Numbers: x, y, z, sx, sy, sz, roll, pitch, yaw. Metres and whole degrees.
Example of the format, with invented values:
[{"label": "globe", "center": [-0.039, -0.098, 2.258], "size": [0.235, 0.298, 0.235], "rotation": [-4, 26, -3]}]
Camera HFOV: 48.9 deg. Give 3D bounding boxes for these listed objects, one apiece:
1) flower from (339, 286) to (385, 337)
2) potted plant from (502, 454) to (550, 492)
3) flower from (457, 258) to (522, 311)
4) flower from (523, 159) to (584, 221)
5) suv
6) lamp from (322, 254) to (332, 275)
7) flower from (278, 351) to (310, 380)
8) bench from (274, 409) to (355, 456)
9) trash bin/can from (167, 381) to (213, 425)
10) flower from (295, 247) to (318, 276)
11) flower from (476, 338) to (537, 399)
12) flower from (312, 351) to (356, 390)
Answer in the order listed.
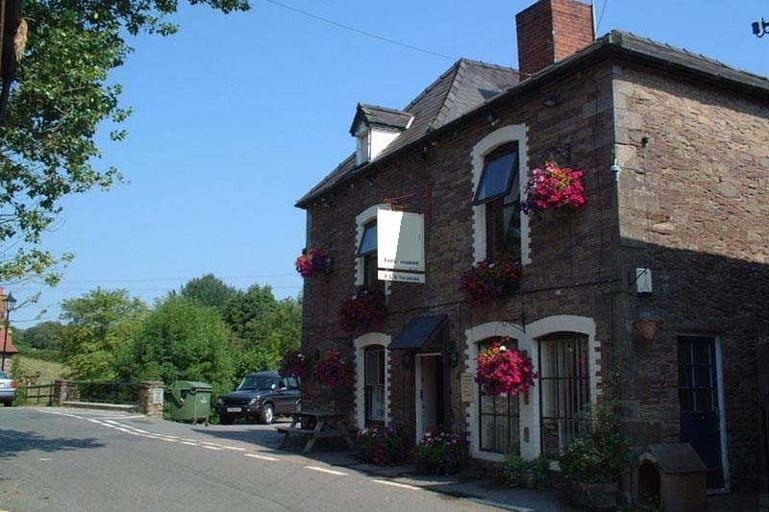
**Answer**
[{"label": "flower", "center": [-0.647, 1.550, 24.671], "size": [0.774, 1.425, 1.537], "rotation": [8, -5, -28]}, {"label": "potted plant", "center": [3.273, 4.875, 19.093], "size": [0.710, 0.583, 0.778], "rotation": [8, -15, -33]}, {"label": "flower", "center": [2.534, 0.544, 20.220], "size": [1.239, 0.865, 1.139], "rotation": [-8, -6, -33]}, {"label": "flower", "center": [3.832, -1.597, 18.995], "size": [1.135, 1.158, 0.816], "rotation": [-14, -35, 5]}, {"label": "suv", "center": [-4.765, 5.468, 32.872], "size": [2.048, 2.036, 2.605], "rotation": [1, -6, 38]}, {"label": "lamp", "center": [-1.769, 0.284, 27.004], "size": [0.196, 0.576, 0.399], "rotation": [8, -5, -30]}, {"label": "flower", "center": [-2.934, 3.582, 27.892], "size": [0.801, 0.577, 1.008], "rotation": [3, -1, -10]}, {"label": "bench", "center": [-2.006, 5.070, 24.969], "size": [1.979, 1.130, 2.666], "rotation": [7, -6, -22]}, {"label": "trash bin/can", "center": [-7.719, 5.860, 34.173], "size": [1.826, 1.826, 2.031], "rotation": [8, -13, -41]}, {"label": "flower", "center": [-2.497, 0.200, 27.430], "size": [0.761, 0.900, 0.498], "rotation": [4, -5, 10]}, {"label": "flower", "center": [2.828, 2.587, 19.795], "size": [1.275, 1.143, 1.288], "rotation": [3, -2, -9]}, {"label": "flower", "center": [-1.411, 3.450, 25.613], "size": [1.201, 1.076, 0.654], "rotation": [4, -5, 9]}]
